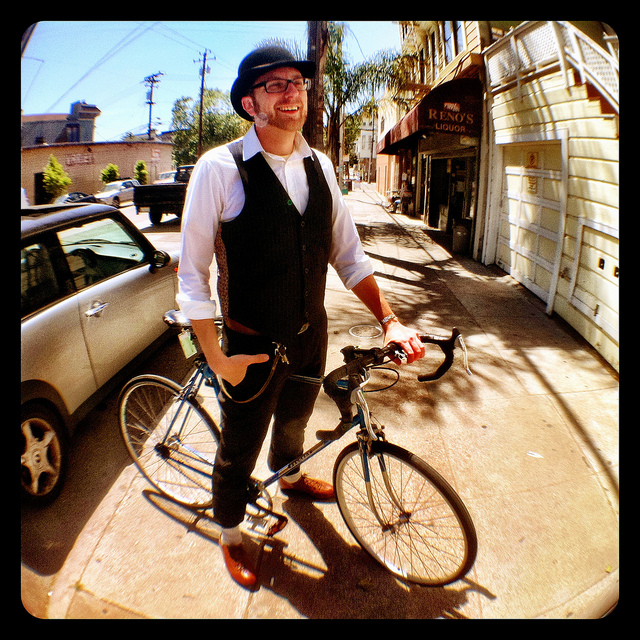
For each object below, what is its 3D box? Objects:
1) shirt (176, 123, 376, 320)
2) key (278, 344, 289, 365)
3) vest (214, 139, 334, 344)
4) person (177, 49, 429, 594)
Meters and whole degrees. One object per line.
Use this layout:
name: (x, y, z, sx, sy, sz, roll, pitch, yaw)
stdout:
shirt: (-0.206, -0.422, 2.042, 0.892, 0.747, 0.255, -15, 21, -33)
key: (-0.152, 0.138, 2.030, 0.034, 0.063, 0.015, -25, 9, -38)
vest: (-0.186, -0.342, 2.141, 0.430, 0.918, 0.536, 5, 10, 45)
person: (-0.158, 0.061, 2.165, 0.872, 2.300, 0.409, -9, 17, -21)
